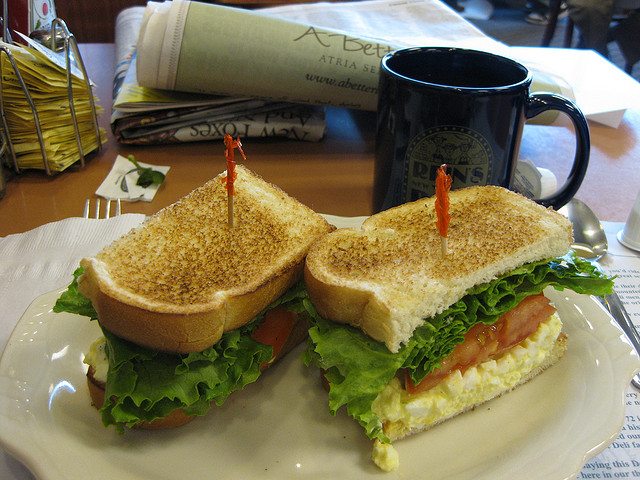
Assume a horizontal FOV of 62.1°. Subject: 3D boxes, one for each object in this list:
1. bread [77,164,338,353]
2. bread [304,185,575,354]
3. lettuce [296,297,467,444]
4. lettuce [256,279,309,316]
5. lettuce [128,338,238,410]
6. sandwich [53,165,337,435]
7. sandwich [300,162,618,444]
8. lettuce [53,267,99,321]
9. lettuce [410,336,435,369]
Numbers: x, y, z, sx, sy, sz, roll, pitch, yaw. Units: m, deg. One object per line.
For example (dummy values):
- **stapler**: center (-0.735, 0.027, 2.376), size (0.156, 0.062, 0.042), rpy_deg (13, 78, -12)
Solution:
- **bread**: center (-0.299, 0.042, 1.491), size (0.487, 0.154, 0.697), rpy_deg (20, 36, 17)
- **bread**: center (0.309, 0.038, 1.463), size (0.744, 0.153, 0.469), rpy_deg (-19, 32, -29)
- **lettuce**: center (0.093, 0.273, 1.254), size (0.331, 0.126, 0.328), rpy_deg (13, 49, 20)
- **lettuce**: center (-0.079, 0.146, 1.415), size (0.093, 0.023, 0.088), rpy_deg (-26, 16, 0)
- **lettuce**: center (-0.326, 0.312, 1.230), size (0.154, 0.033, 0.142), rpy_deg (18, 35, 11)
- **sandwich**: center (-0.338, 0.101, 1.448), size (0.541, 0.223, 0.736), rpy_deg (26, 44, 25)
- **sandwich**: center (0.301, 0.144, 1.405), size (0.754, 0.493, 0.484), rpy_deg (-9, 31, -26)
- **lettuce**: center (-0.642, 0.160, 1.374), size (0.117, 0.046, 0.168), rpy_deg (1, 56, -21)
- **lettuce**: center (0.239, 0.266, 1.250), size (0.072, 0.070, 0.026), rpy_deg (-3, 8, -23)
